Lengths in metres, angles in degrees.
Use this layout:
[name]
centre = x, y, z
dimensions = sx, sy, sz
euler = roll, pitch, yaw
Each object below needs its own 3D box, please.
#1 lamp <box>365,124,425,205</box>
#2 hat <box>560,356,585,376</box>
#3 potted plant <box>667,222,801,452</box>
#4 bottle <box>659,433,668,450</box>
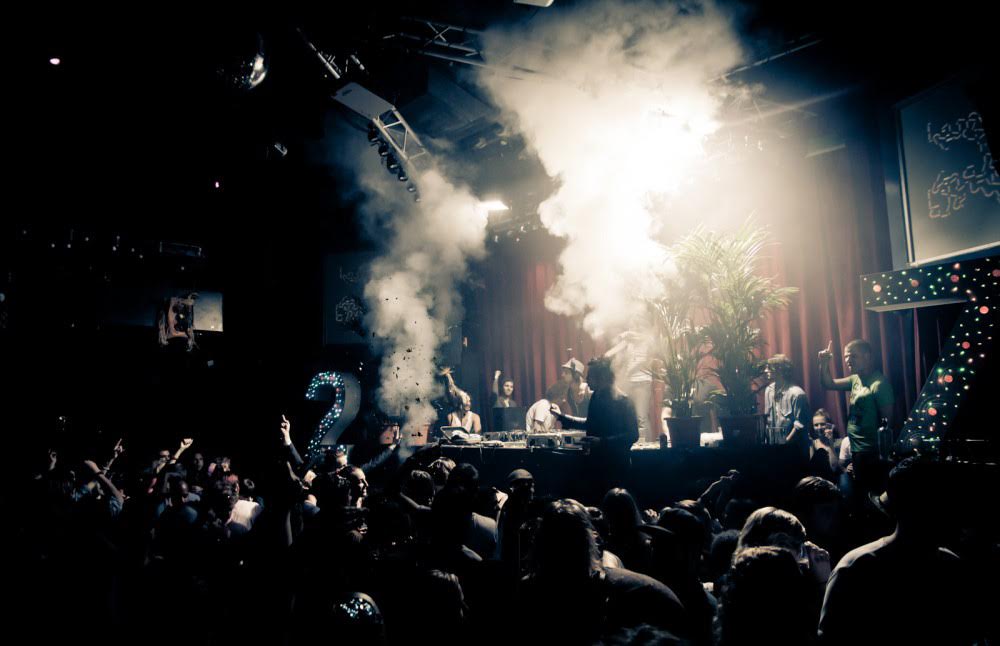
[lamp]
centre = -1.925, -2.776, 14.072
dimensions = 0.428, 0.594, 1.955
euler = -28, -42, 4
[hat]
centre = 1.315, 0.726, 13.633
dimensions = 0.275, 0.144, 0.385
euler = 5, -36, 40
[potted plant]
centre = 2.904, 0.308, 10.054
dimensions = 1.233, 2.402, 1.342
euler = 0, -5, 17
[bottle]
centre = 2.053, 1.492, 10.169
dimensions = 0.130, 0.246, 0.131
euler = 1, -9, 0
